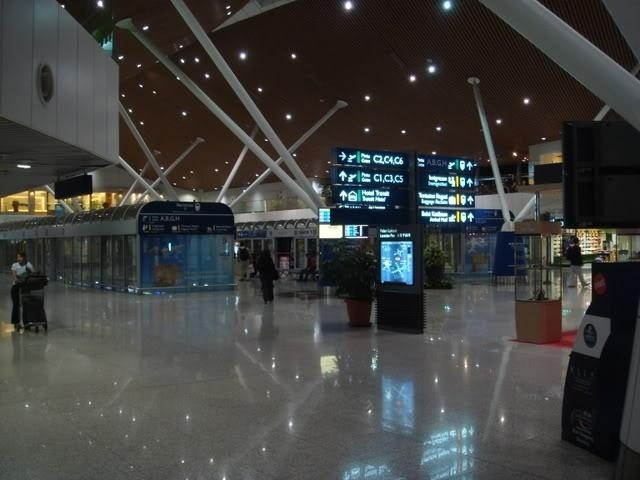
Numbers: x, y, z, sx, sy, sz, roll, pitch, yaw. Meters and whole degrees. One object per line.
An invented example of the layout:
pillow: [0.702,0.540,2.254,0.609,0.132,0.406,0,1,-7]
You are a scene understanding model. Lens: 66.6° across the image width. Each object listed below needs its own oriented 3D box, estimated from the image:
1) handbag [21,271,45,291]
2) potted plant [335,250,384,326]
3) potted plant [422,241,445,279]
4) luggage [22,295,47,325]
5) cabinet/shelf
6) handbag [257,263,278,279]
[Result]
handbag: [-7.182,1.041,12.252,0.485,0.512,0.643,2,-6,-30]
potted plant: [0.927,1.195,11.987,0.978,1.900,0.529,-1,-1,0]
potted plant: [5.070,0.961,21.822,1.071,1.430,0.875,0,-1,-8]
luggage: [-6.945,1.750,11.894,0.517,0.810,0.599,0,-1,-32]
cabinet/shelf: [4.589,0.880,10.250,0.949,2.484,0.993,-1,-5,13]
handbag: [-1.832,1.102,16.906,0.627,0.519,0.884,7,-6,-29]
